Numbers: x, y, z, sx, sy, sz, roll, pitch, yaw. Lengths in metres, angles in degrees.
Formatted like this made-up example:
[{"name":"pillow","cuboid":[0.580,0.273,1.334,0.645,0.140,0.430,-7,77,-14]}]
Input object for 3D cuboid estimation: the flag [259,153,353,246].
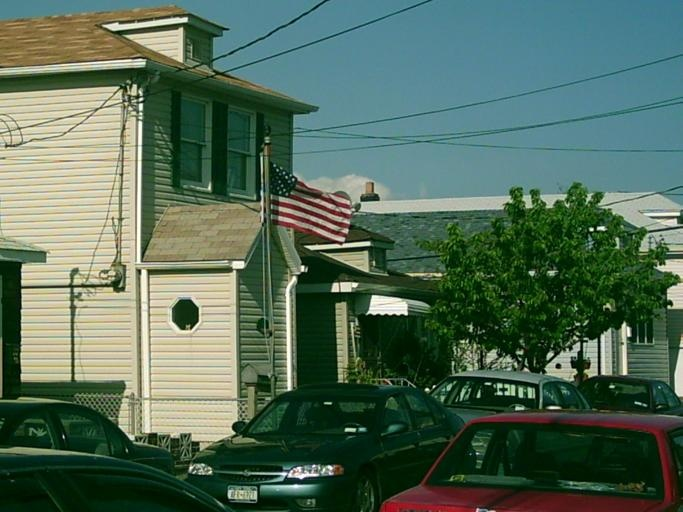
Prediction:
[{"name":"flag","cuboid":[-0.662,-1.146,31.109,2.449,1.530,0.182,9,7,41]}]
